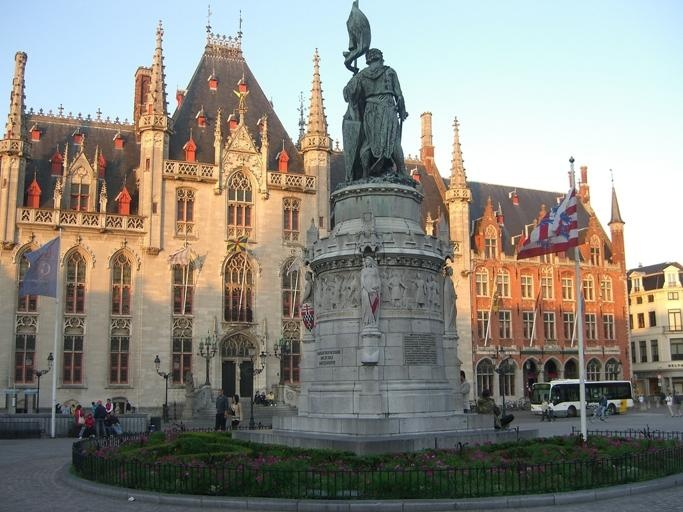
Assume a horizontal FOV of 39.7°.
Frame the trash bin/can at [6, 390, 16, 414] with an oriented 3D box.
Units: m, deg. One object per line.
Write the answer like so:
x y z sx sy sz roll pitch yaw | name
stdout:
-19.177 8.398 54.622 0.583 1.288 1.720 4 -15 -18 | trash bin/can

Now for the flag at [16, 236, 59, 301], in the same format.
-15.492 0.442 48.668 1.602 3.088 0.714 2 -14 -11 | flag

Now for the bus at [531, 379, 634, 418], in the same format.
16.420 9.407 63.337 7.982 2.678 2.628 6 -15 -18 | bus

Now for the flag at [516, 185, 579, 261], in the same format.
8.447 -1.383 37.877 2.154 2.499 0.621 -10 -16 32 | flag
